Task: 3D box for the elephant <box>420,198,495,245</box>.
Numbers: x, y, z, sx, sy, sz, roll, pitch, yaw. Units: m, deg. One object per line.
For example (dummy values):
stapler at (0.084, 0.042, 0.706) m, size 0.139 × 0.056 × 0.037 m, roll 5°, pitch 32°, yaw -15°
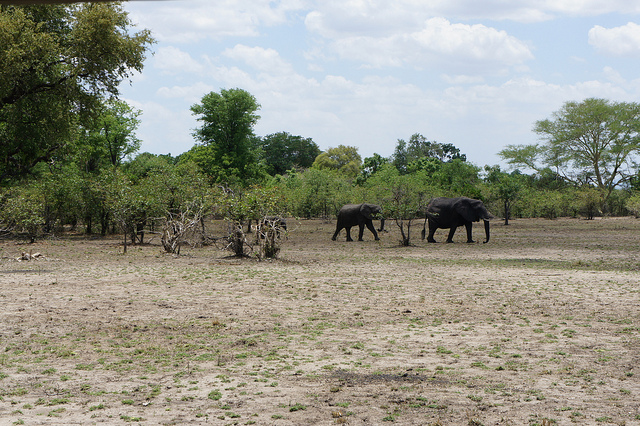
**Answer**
elephant at (9.052, 0.504, 52.725) m, size 5.028 × 2.714 × 1.809 m, roll -2°, pitch -6°, yaw 35°
